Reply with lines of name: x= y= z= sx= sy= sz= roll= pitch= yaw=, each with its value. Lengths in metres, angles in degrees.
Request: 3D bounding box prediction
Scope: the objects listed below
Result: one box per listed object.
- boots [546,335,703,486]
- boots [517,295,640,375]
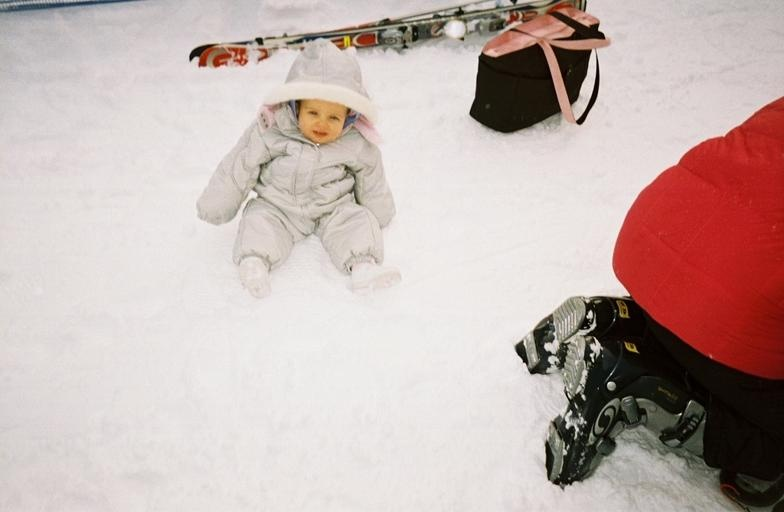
boots: x=0.891 y=0.605 z=2.785 sx=0.699 sy=0.437 sz=0.294 roll=-43 pitch=-3 yaw=8
boots: x=0.775 y=0.295 z=2.726 sx=0.423 sy=0.158 sz=0.274 roll=-22 pitch=18 yaw=-7
